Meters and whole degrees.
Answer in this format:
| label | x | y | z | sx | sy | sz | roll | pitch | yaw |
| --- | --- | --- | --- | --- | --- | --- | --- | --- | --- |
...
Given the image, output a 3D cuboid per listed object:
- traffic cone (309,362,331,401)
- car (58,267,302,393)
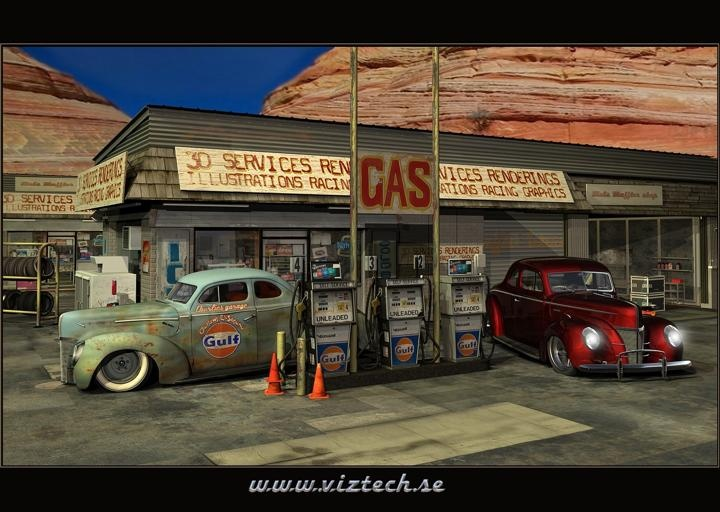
| label | x | y | z | sx | sy | sz | roll | pitch | yaw |
| --- | --- | --- | --- | --- | --- | --- | --- | --- | --- |
| traffic cone | -0.830 | 2.541 | 12.521 | 0.629 | 0.627 | 0.627 | -1 | -1 | 7 |
| car | -4.102 | 1.500 | 13.611 | 4.686 | 1.823 | 2.484 | 0 | 1 | -24 |
